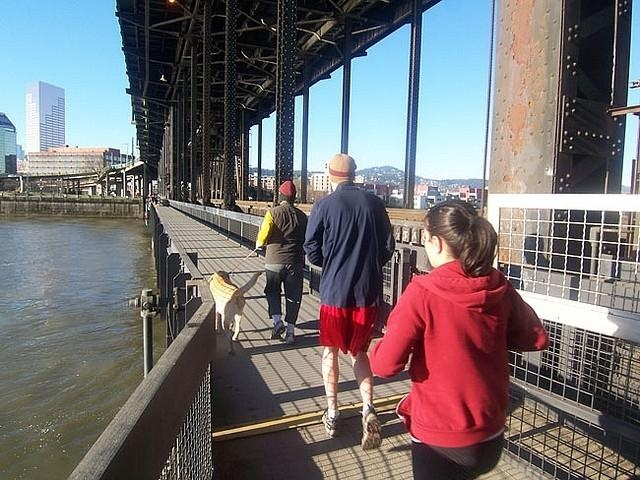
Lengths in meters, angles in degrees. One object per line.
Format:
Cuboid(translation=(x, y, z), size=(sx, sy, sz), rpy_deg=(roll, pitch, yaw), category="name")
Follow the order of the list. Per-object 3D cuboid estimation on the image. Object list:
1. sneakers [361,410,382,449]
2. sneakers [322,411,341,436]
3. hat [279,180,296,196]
Cuboid(translation=(0.410, 1.452, 3.872), size=(0.129, 0.350, 0.151), rpy_deg=(2, 6, -7), category="sneakers")
Cuboid(translation=(0.105, 1.569, 4.241), size=(0.079, 0.120, 0.234), rpy_deg=(2, 13, -3), category="sneakers")
Cuboid(translation=(-0.394, -0.660, 6.115), size=(0.150, 0.129, 0.182), rpy_deg=(-3, 24, -45), category="hat")
